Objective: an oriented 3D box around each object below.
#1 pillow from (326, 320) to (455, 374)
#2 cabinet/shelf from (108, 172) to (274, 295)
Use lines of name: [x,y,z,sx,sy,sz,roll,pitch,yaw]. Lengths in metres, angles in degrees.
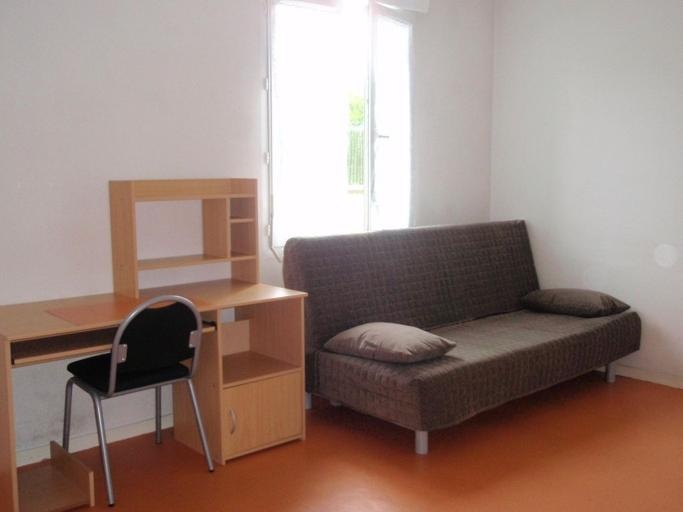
pillow: [0.265,0.522,3.264,0.778,0.184,0.334,6,11,31]
cabinet/shelf: [-0.891,-0.120,3.186,0.306,0.641,0.824,7,9,42]
